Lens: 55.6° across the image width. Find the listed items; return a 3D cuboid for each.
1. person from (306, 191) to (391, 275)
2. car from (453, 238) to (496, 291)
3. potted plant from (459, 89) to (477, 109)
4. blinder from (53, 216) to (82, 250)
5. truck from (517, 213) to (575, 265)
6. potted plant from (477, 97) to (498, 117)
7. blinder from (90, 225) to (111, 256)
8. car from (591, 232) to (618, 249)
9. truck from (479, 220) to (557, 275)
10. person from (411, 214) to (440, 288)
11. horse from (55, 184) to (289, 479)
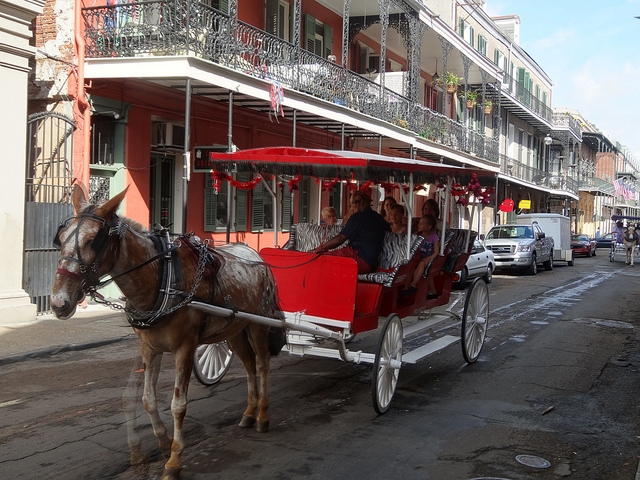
[{"bbox_3d":[0.508,-0.120,8.808,0.868,1.184,1.605,-1,4,13],"label":"person"},{"bbox_3d":[4.649,0.759,19.984,1.252,1.497,3.252,-7,-3,36],"label":"car"},{"bbox_3d":[8.218,-7.927,33.522,1.058,1.202,1.090,0,-6,0],"label":"potted plant"},{"bbox_3d":[-2.412,-0.078,5.755,0.173,0.284,0.460,-4,4,-40],"label":"blinder"},{"bbox_3d":[11.609,0.262,31.203,2.208,2.760,3.822,-11,-7,20],"label":"truck"},{"bbox_3d":[10.175,-8.267,37.005,1.154,1.485,1.143,0,-6,22],"label":"potted plant"},{"bbox_3d":[-2.030,0.011,5.605,0.055,0.222,0.166,17,-23,34],"label":"blinder"},{"bbox_3d":[25.026,0.087,53.455,1.353,1.107,3.071,3,9,39],"label":"car"},{"bbox_3d":[8.813,0.318,26.377,2.155,1.818,4.667,-2,-4,26],"label":"truck"},{"bbox_3d":[1.639,0.142,9.367,0.402,1.014,1.461,-1,4,11],"label":"person"},{"bbox_3d":[-1.407,0.804,6.661,1.666,2.815,2.995,-1,4,11],"label":"horse"}]
